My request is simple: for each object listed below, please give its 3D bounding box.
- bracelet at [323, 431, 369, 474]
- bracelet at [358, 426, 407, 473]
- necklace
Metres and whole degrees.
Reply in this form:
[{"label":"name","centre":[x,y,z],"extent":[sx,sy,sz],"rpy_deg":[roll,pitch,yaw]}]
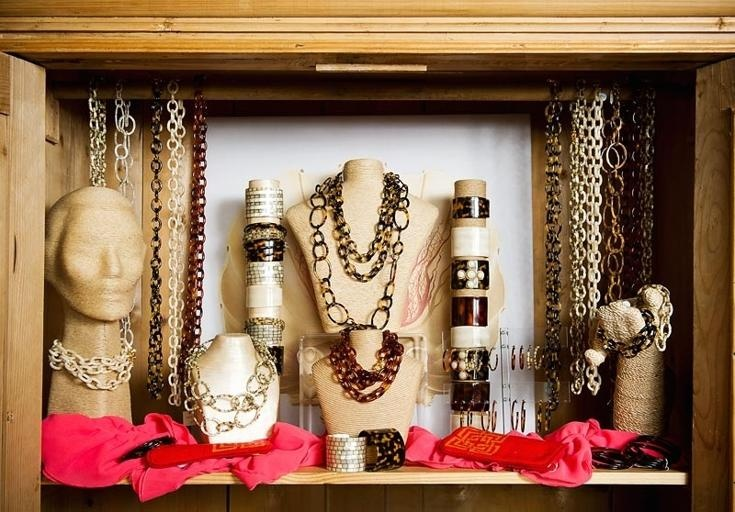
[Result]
[{"label":"bracelet","centre":[-0.067,0.578,3.272],"extent":[0.108,0.080,0.107],"rpy_deg":[-1,0,5]},{"label":"bracelet","centre":[0.042,0.564,3.295],"extent":[0.119,0.122,0.111],"rpy_deg":[-1,39,-7]},{"label":"necklace","centre":[-0.001,0.034,3.498],"extent":[1.109,1.014,0.268],"rpy_deg":[-3,-8,3]}]
